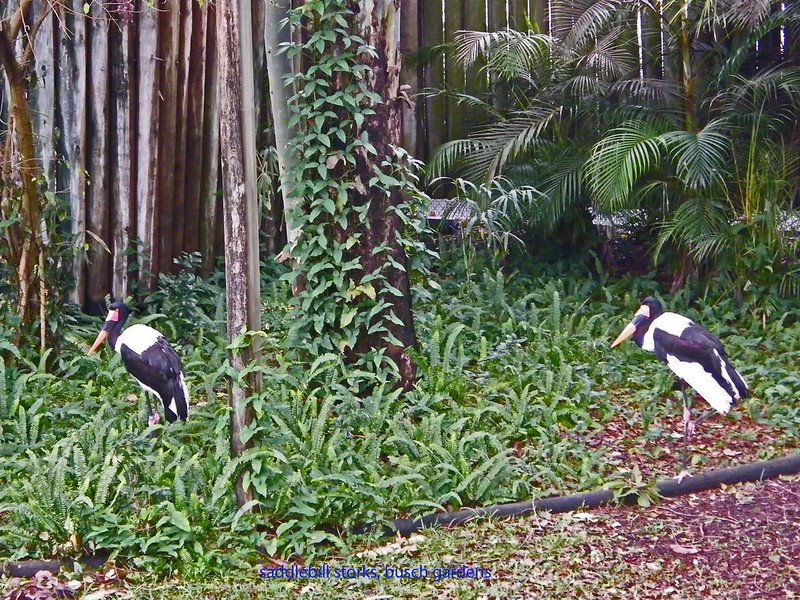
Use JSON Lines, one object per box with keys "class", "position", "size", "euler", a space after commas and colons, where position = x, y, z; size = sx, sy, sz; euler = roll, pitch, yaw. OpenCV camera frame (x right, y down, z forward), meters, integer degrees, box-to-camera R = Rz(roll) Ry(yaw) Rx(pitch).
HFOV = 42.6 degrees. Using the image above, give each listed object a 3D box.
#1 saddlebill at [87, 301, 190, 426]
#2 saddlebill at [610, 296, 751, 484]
{"class": "saddlebill", "position": [-2.087, 0.425, 7.947], "size": [0.435, 0.760, 1.715], "euler": [-10, 17, -34]}
{"class": "saddlebill", "position": [2.167, 0.613, 7.638], "size": [0.648, 0.942, 1.252], "euler": [-1, 14, -1]}
